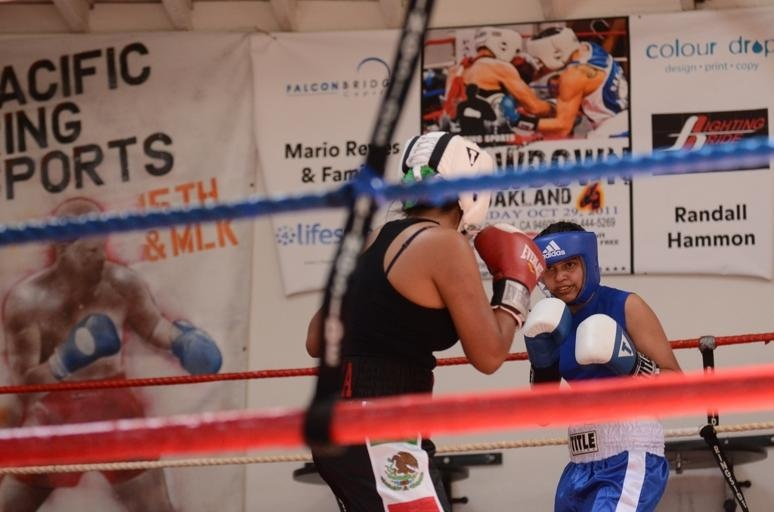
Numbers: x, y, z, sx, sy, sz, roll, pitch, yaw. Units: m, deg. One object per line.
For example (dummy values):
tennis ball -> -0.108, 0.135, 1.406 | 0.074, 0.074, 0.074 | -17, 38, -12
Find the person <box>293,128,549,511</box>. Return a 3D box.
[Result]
person -> 0.118, 0.248, 3.688 | 0.971, 1.452, 0.475 | -5, 7, -29

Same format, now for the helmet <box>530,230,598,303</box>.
helmet -> 0.808, 0.029, 4.456 | 0.266, 0.324, 0.350 | -4, 18, 29

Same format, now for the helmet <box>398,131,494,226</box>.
helmet -> 0.232, -0.356, 3.825 | 0.406, 0.373, 0.318 | -8, 32, -38
